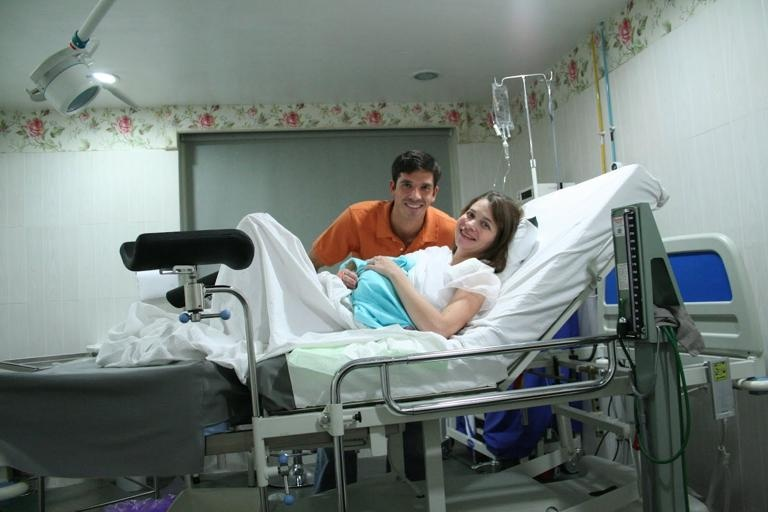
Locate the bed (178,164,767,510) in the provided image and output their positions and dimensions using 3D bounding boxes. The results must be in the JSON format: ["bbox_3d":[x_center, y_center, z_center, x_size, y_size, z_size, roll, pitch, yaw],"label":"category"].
[{"bbox_3d":[0.301,0.387,3.905,2.545,1.640,1.731,1,-7,-6],"label":"bed"}]

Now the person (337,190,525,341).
[{"bbox_3d":[0.292,0.036,3.714,1.106,0.753,0.896,1,9,-2],"label":"person"}]
